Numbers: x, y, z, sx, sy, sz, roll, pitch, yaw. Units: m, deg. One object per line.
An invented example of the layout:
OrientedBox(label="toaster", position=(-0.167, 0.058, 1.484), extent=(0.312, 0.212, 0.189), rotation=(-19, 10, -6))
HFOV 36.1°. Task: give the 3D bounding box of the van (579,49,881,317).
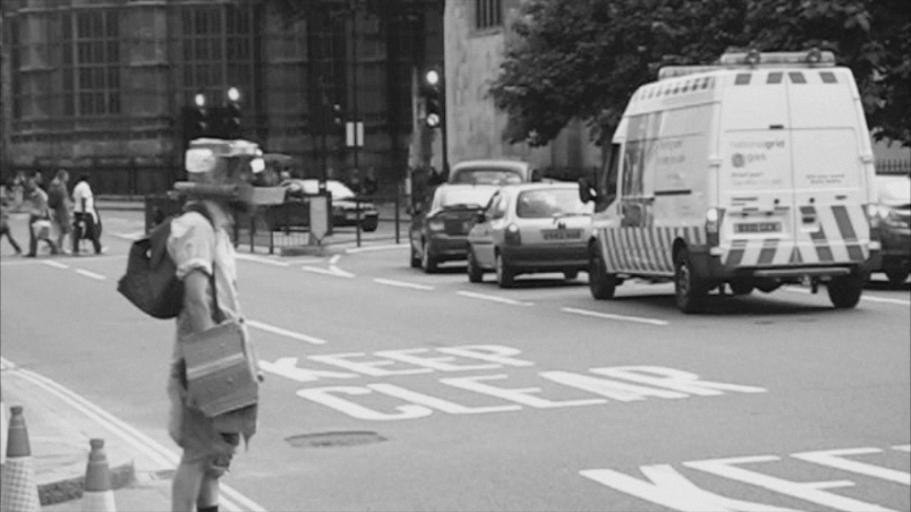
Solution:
OrientedBox(label="van", position=(4.256, -1.080, 21.287), extent=(4.105, 3.902, 2.084), rotation=(0, 4, 21))

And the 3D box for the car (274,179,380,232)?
OrientedBox(label="car", position=(-3.504, -1.629, 44.397), extent=(1.653, 1.202, 2.810), rotation=(-1, 0, -31))

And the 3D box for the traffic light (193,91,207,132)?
OrientedBox(label="traffic light", position=(-1.957, -1.093, 10.791), extent=(0.083, 0.299, 0.333), rotation=(-2, 4, -10))

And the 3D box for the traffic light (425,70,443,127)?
OrientedBox(label="traffic light", position=(-0.268, -1.740, 16.525), extent=(0.156, 0.494, 0.141), rotation=(2, 3, -19))

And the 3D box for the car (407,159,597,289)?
OrientedBox(label="car", position=(0.901, -0.470, 25.885), extent=(2.260, 1.516, 4.111), rotation=(-1, 6, -3))
